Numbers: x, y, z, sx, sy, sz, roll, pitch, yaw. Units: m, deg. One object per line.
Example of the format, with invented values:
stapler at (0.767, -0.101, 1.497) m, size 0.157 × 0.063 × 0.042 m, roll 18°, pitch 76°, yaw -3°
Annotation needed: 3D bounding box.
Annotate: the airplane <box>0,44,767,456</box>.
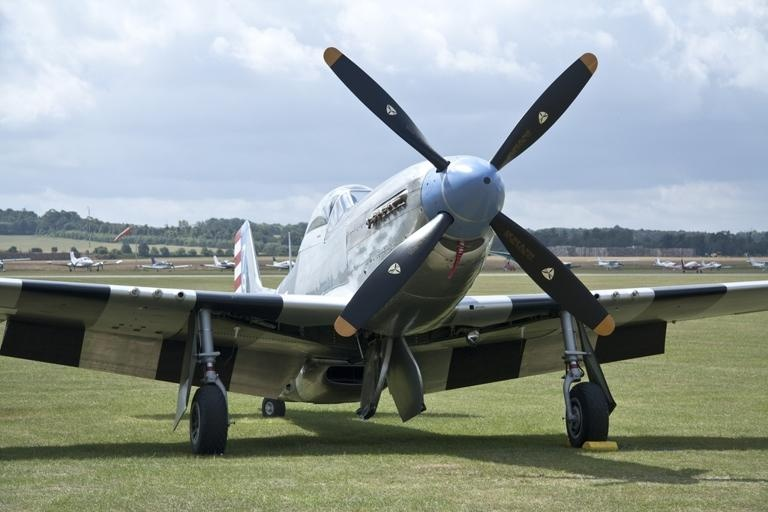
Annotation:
airplane at (0.340, 1.519, 15.932) m, size 11.400 × 4.095 × 9.359 m, roll 0°, pitch -11°, yaw -24°
